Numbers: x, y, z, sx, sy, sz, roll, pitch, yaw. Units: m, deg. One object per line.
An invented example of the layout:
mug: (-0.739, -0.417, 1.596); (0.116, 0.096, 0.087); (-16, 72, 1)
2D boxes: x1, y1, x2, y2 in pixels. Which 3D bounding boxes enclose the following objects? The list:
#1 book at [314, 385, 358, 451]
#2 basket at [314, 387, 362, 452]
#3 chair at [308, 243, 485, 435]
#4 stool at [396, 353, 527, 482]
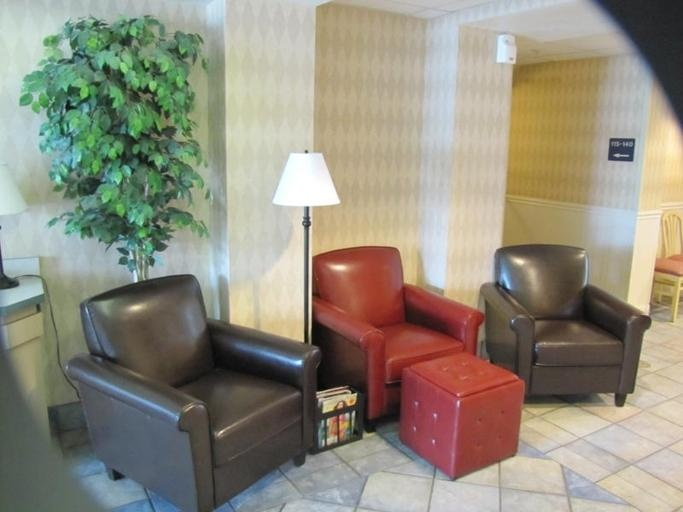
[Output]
book: (-0.034, 0.815, 2.758); (0.301, 0.315, 0.159); (-7, 11, -43)
basket: (-0.023, 0.821, 2.766); (0.297, 0.302, 0.158); (-6, 11, -40)
chair: (0.208, 0.394, 3.375); (1.013, 0.946, 0.929); (-7, 12, -32)
stool: (0.578, 0.773, 2.762); (0.474, 0.435, 0.437); (-7, 16, -31)
